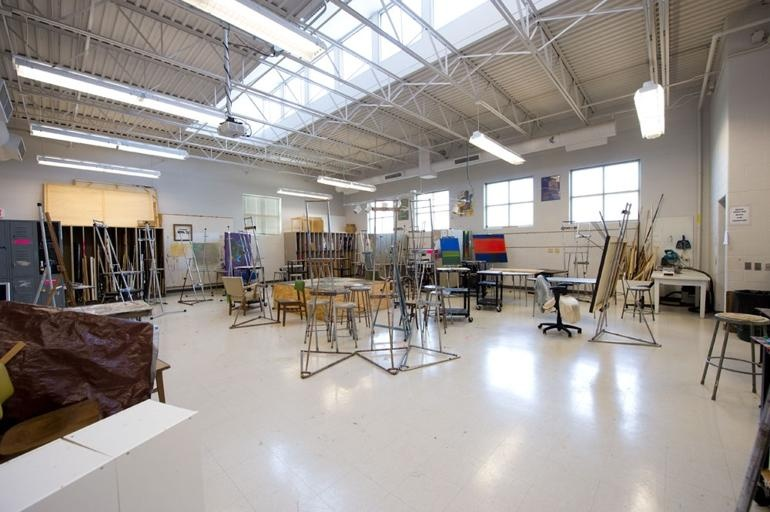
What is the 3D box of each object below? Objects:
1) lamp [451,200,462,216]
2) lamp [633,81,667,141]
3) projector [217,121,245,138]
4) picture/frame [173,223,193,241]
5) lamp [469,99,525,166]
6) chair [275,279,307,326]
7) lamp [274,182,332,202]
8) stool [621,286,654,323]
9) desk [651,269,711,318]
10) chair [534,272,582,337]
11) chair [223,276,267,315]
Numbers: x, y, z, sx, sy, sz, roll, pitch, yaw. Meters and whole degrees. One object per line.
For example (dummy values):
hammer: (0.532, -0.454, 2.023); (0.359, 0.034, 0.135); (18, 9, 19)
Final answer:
lamp: (2.131, -1.495, 14.633); (0.337, 0.493, 0.485); (2, -3, 4)
lamp: (4.217, -2.438, 7.843); (0.452, 0.806, 0.470); (-14, 20, -4)
projector: (-2.648, -2.226, 8.279); (0.452, 0.265, 0.287); (-6, 11, -29)
picture/frame: (-6.154, -0.720, 14.435); (0.074, 0.550, 0.571); (-26, -19, 27)
lamp: (2.905, -3.279, 12.377); (0.659, 0.993, 2.160); (-16, -31, 40)
chair: (-1.948, 0.944, 9.897); (0.663, 0.808, 0.599); (-3, 4, -37)
lamp: (-3.045, -2.299, 17.012); (0.386, 0.217, 2.223); (-25, -14, 23)
stool: (5.532, 1.101, 10.468); (0.650, 0.717, 0.666); (3, -3, 28)
desk: (6.281, 0.739, 10.185); (0.934, 0.782, 1.263); (0, 1, 30)
chair: (3.316, 0.932, 9.077); (0.776, 1.079, 0.708); (0, 10, 10)
chair: (-3.216, 0.886, 10.731); (0.693, 0.747, 0.877); (-2, -1, 13)
